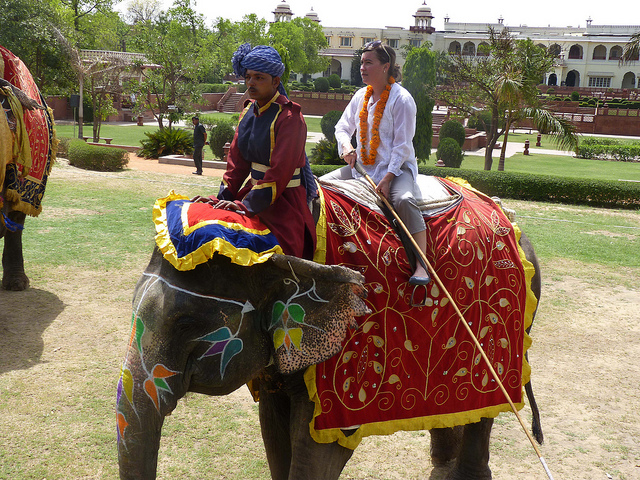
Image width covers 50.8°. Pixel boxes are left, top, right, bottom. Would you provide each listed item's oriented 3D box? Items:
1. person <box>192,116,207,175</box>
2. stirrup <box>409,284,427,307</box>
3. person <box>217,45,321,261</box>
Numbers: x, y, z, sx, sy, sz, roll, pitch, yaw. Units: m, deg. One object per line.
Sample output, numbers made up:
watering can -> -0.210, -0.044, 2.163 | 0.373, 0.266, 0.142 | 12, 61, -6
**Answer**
person -> -3.206, -2.467, 17.763 | 0.322, 1.436, 1.104 | 1, 13, -10
stirrup -> 0.661, 0.362, 4.537 | 0.085, 0.147, 0.039 | 5, -2, 4
person -> -0.311, -0.557, 4.333 | 0.711, 1.305, 0.596 | 4, 13, 5
